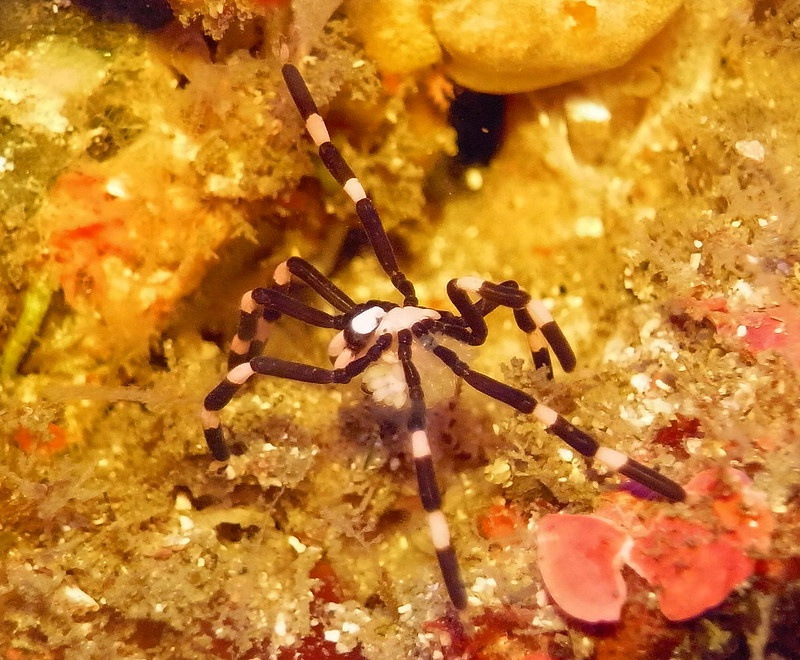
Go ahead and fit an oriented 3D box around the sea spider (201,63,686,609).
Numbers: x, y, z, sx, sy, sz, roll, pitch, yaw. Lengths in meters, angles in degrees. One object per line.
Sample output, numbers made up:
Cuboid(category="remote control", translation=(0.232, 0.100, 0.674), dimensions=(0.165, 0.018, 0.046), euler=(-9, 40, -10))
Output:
Cuboid(category="sea spider", translation=(-0.135, 0.193, 4.029), dimensions=(2.255, 0.598, 1.501), euler=(41, 85, 5))
